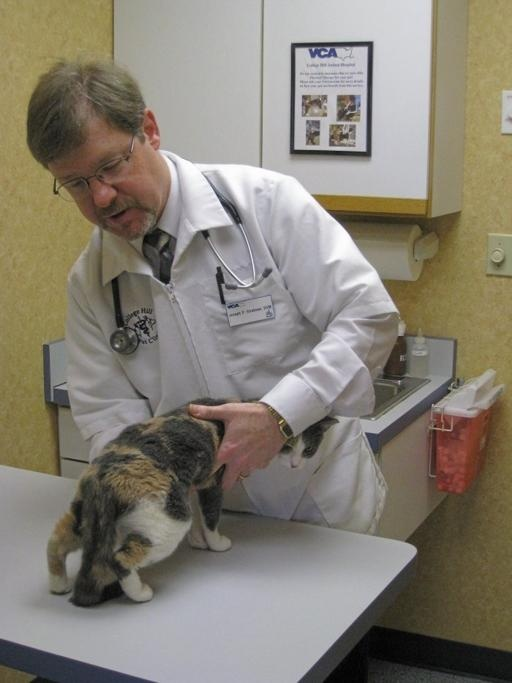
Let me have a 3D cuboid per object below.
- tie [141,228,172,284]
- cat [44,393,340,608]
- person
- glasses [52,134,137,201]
[{"bbox_3d":[-0.158,-0.135,1.003,0.054,0.088,0.023,-23,-12,35],"label":"tie"},{"bbox_3d":[-0.078,0.156,0.820,0.123,0.194,0.378,8,22,40],"label":"cat"},{"bbox_3d":[-0.192,-0.057,1.301,0.717,1.039,0.687,-3,14,45],"label":"person"},{"bbox_3d":[-0.233,-0.241,0.851,0.129,0.081,0.056,1,6,21],"label":"glasses"}]
